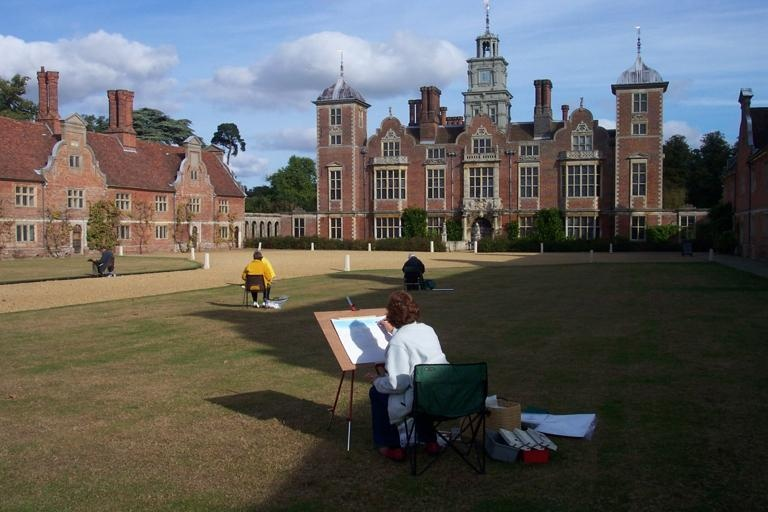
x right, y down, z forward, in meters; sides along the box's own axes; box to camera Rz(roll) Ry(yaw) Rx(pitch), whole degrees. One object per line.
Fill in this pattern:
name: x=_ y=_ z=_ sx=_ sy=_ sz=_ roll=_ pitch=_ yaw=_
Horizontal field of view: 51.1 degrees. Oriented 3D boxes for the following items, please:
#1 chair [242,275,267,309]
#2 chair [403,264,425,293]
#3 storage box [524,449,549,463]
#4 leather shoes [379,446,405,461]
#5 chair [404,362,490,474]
chair: x=-3.890 y=1.093 z=24.242 sx=0.729 sy=1.227 sz=0.834 roll=1 pitch=27 yaw=-3
chair: x=1.015 y=0.827 z=27.445 sx=0.717 sy=1.084 sz=0.833 roll=0 pitch=-16 yaw=1
storage box: x=2.494 y=3.289 z=13.239 sx=0.333 sy=0.148 sz=0.217 roll=-3 pitch=-7 yaw=24
leather shoes: x=0.132 y=3.302 z=13.488 sx=0.409 sy=0.170 sz=0.160 roll=4 pitch=7 yaw=16
chair: x=1.108 y=2.679 z=13.818 sx=1.818 sy=2.397 sz=1.647 roll=0 pitch=0 yaw=0
